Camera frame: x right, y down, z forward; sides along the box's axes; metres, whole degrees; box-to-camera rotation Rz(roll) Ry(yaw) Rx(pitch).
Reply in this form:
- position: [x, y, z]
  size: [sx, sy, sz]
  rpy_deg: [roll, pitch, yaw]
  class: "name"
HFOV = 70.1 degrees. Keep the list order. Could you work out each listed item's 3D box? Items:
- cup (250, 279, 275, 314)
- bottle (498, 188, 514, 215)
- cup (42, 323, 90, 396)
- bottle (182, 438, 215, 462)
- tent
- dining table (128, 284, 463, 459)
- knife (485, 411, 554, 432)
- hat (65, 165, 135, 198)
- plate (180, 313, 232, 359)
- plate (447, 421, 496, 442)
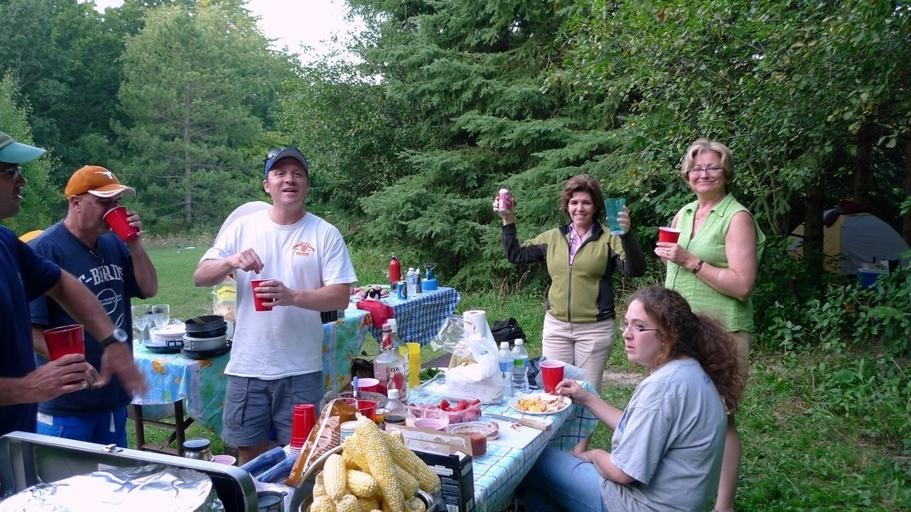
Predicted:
- position: [-1.671, 0.344, 5.608]
  size: [0.134, 0.266, 0.147]
  rpy_deg: [-1, -1, 0]
  class: "cup"
- position: [0.495, -0.556, 6.533]
  size: [0.141, 0.240, 0.094]
  rpy_deg: [0, -1, -7]
  class: "bottle"
- position: [-2.843, 0.734, 4.730]
  size: [0.245, 0.443, 0.267]
  rpy_deg: [-1, -1, 0]
  class: "cup"
- position: [-1.893, 1.405, 4.734]
  size: [0.207, 0.163, 0.187]
  rpy_deg: [2, 2, 7]
  class: "bottle"
- position: [6.869, -0.353, 11.922]
  size: [2.046, 1.092, 1.817]
  rpy_deg: [-1, -5, -1]
  class: "tent"
- position: [-1.656, 1.090, 7.408]
  size: [1.714, 0.551, 3.021]
  rpy_deg: [3, 12, 31]
  class: "dining table"
- position: [0.468, 1.375, 5.411]
  size: [0.758, 0.067, 0.156]
  rpy_deg: [4, 17, 20]
  class: "knife"
- position: [-3.110, -0.634, 5.681]
  size: [0.512, 0.234, 0.320]
  rpy_deg: [-6, 7, -8]
  class: "hat"
- position: [-2.376, 0.786, 6.327]
  size: [0.460, 0.268, 0.409]
  rpy_deg: [0, 4, 0]
  class: "plate"
- position: [0.157, 1.391, 5.178]
  size: [0.253, 0.049, 0.188]
  rpy_deg: [-1, -1, 16]
  class: "plate"
